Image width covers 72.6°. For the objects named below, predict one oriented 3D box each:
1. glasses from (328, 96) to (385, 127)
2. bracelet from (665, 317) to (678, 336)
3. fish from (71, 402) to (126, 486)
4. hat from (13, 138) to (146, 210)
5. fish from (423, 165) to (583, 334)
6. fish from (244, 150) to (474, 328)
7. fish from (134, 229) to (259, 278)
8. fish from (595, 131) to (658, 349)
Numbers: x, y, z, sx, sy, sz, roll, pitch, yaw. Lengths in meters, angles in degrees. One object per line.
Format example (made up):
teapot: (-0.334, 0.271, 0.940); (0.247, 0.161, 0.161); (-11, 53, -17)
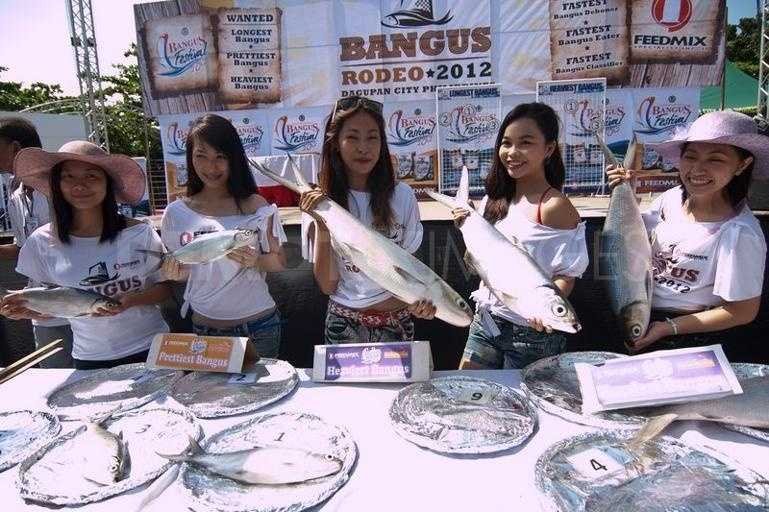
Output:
glasses: (-0.187, -0.942, 3.339); (0.356, 0.159, 0.219); (-5, 18, -7)
bracelet: (1.663, 0.415, 3.050); (0.026, 0.082, 0.069); (-18, -2, 3)
fish: (-1.354, 0.895, 2.512); (0.181, 0.122, 0.417); (-9, 18, -25)
hat: (-1.845, -0.562, 3.362); (0.504, 0.181, 0.518); (7, -23, -7)
fish: (0.627, -0.050, 2.776); (0.245, 0.760, 0.818); (-14, 21, -31)
fish: (-0.081, -0.049, 2.869); (1.829, 0.371, 0.339); (38, -5, -41)
fish: (-1.032, -0.037, 3.036); (0.597, 0.247, 0.256); (-3, 18, -1)
fish: (1.410, 0.029, 3.048); (0.314, 0.871, 0.429); (-5, 18, -6)
